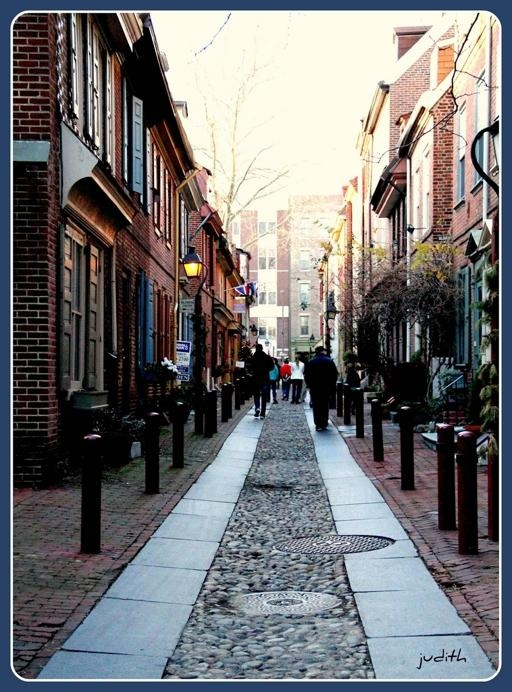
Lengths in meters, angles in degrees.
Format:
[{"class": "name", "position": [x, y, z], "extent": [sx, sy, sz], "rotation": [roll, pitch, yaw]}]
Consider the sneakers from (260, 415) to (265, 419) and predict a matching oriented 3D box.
[{"class": "sneakers", "position": [0.148, 1.845, 19.550], "extent": [0.068, 0.102, 0.221], "rotation": [0, -7, 3]}]

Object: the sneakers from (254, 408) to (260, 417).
[{"class": "sneakers", "position": [0.015, 1.751, 19.804], "extent": [0.136, 0.207, 0.446], "rotation": [0, -14, -2]}]
